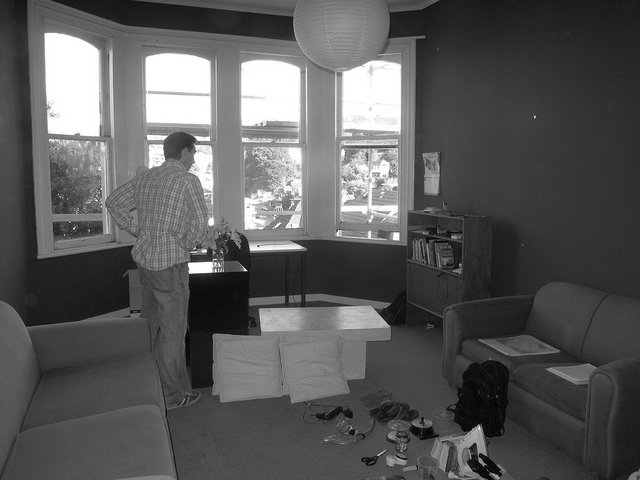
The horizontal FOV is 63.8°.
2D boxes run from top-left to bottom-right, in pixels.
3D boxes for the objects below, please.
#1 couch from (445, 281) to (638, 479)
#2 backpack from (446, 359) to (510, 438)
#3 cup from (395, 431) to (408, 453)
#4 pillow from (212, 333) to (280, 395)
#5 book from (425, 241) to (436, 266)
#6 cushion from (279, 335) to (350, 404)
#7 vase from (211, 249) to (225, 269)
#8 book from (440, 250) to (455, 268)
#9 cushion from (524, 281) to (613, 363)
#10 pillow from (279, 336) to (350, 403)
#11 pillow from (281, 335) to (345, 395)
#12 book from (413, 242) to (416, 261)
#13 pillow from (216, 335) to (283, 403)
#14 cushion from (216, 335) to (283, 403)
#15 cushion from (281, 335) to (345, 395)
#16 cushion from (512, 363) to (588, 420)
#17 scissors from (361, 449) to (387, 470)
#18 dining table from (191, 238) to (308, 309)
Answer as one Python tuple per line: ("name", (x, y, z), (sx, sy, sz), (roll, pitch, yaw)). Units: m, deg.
("couch", (1.870, 0.998, 4.170), (1.171, 1.089, 1.704), (-2, 13, -21))
("backpack", (1.283, 1.289, 4.180), (0.404, 0.516, 0.455), (21, -15, -5))
("cup", (0.612, 1.510, 3.849), (0.098, 0.110, 0.103), (0, 4, 0))
("pillow", (-0.661, 1.118, 4.552), (0.491, 0.518, 0.123), (-4, -2, -12))
("book", (1.319, 0.165, 6.130), (0.131, 0.250, 0.250), (-2, 7, -1))
("cushion", (-0.058, 1.155, 4.626), (0.576, 0.455, 0.321), (-2, 13, -21))
("vase", (-1.024, 0.176, 5.135), (0.119, 0.163, 0.212), (0, 12, -12))
("book", (1.469, 0.211, 5.946), (0.183, 0.187, 0.046), (0, -16, -3))
("cushion", (2.148, 0.659, 4.590), (0.479, 0.667, 0.910), (-1, 6, -13))
("pillow", (-0.067, 1.168, 4.601), (0.550, 0.528, 0.164), (-6, -14, -23))
("pillow", (-0.226, 1.203, 4.776), (0.499, 0.520, 0.156), (-3, -29, -14))
("book", (1.180, 0.137, 6.414), (0.015, 0.219, 0.072), (-1, 12, -15))
("pillow", (-0.652, 1.113, 4.569), (0.539, 0.554, 0.135), (-4, -8, -14))
("cushion", (-0.627, 1.117, 4.548), (0.538, 0.552, 0.134), (-4, -6, -14))
("cushion", (-0.233, 1.209, 4.772), (0.499, 0.515, 0.155), (-3, -34, -13))
("cushion", (1.769, 1.157, 3.952), (0.644, 0.691, 0.119), (-7, 11, -19))
("scissors", (0.423, 1.578, 3.746), (0.235, 0.064, 0.121), (-7, 16, -38))
("dining table", (-0.738, 0.183, 7.045), (1.539, 1.172, 0.905), (-1, 4, -8))
